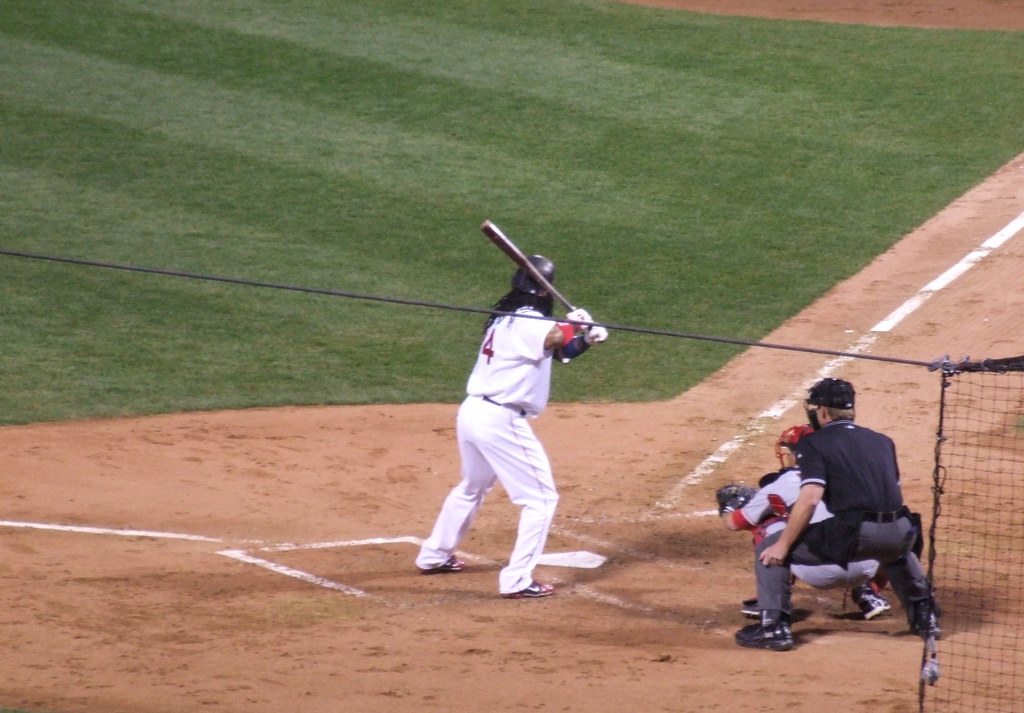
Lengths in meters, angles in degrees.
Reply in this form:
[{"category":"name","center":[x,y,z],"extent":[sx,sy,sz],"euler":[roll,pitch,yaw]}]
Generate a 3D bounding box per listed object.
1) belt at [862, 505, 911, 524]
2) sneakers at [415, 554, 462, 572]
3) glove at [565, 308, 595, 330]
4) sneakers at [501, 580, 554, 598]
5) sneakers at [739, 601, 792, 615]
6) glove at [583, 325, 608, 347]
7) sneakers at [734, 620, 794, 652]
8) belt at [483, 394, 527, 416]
[{"category":"belt","center":[3.967,1.650,22.121],"extent":[0.542,0.169,0.103],"euler":[3,11,-24]},{"category":"sneakers","center":[-0.858,2.349,23.747],"extent":[0.592,0.163,0.159],"euler":[-6,28,-10]},{"category":"glove","center":[0.760,-0.469,23.060],"extent":[0.381,0.095,0.194],"euler":[3,31,5]},{"category":"sneakers","center":[0.138,2.565,23.227],"extent":[0.664,0.168,0.181],"euler":[-2,3,-8]},{"category":"sneakers","center":[2.704,2.731,22.737],"extent":[0.511,0.146,0.195],"euler":[7,9,44]},{"category":"glove","center":[0.898,-0.240,22.992],"extent":[0.272,0.252,0.531],"euler":[9,6,1]},{"category":"sneakers","center":[2.672,2.956,22.238],"extent":[0.677,0.199,0.272],"euler":[4,5,20]},{"category":"belt","center":[-0.060,0.543,23.198],"extent":[0.366,0.057,0.275],"euler":[16,-1,-8]}]
